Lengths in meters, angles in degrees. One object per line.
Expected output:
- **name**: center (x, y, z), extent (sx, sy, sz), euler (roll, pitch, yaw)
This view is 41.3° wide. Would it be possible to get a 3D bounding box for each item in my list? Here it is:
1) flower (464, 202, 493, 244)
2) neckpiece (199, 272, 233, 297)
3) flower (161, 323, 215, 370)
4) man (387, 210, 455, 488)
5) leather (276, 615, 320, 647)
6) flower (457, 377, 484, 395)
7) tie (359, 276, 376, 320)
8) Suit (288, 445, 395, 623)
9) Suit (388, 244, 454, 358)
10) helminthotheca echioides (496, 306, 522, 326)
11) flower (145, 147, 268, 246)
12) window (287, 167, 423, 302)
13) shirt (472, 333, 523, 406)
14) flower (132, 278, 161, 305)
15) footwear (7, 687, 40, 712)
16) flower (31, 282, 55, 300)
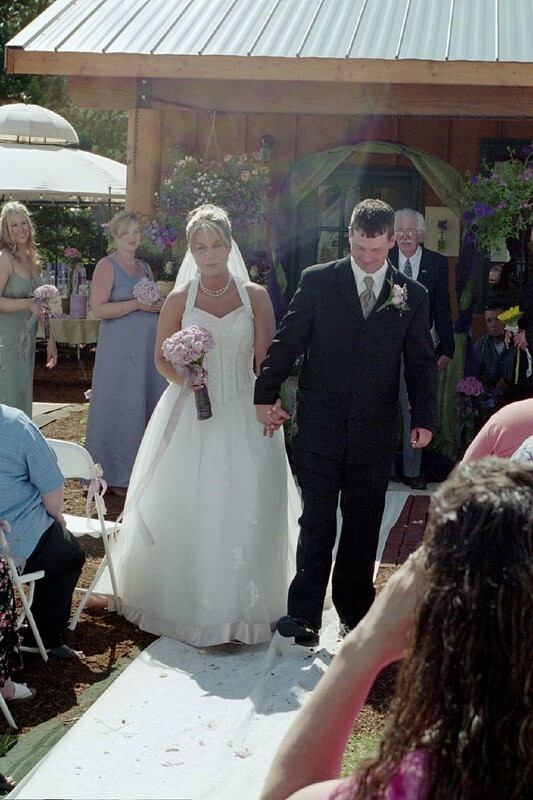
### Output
- **flower**: center (1.872, -1.559, 6.282), extent (0.192, 0.363, 0.280), euler (1, 3, -6)
- **neckpiece**: center (-0.253, -0.561, 3.579), extent (0.110, 0.133, 0.036), euler (-7, -14, -9)
- **flower**: center (-0.380, -0.248, 3.453), extent (0.239, 0.214, 0.277), euler (1, 3, -6)
- **man**: center (1.252, -0.411, 6.005), extent (0.772, 2.391, 0.707), euler (-3, 9, 0)
- **leather**: center (0.142, 1.056, 3.208), extent (0.201, 0.100, 0.087), euler (36, 31, -11)
- **flower**: center (1.850, -0.113, 6.403), extent (0.233, 0.188, 0.185), euler (2, 3, 16)
- **tie**: center (0.458, -0.462, 3.172), extent (0.071, 0.193, 0.038), euler (2, 3, 7)
- **Suit**: center (0.325, 0.624, 3.426), extent (0.469, 0.840, 0.313), euler (4, 2, -4)
- **Suit**: center (1.441, -0.805, 6.062), extent (0.796, 0.921, 0.253), euler (2, 3, 8)
- **helminthotheca echioides**: center (2.152, -0.751, 6.255), extent (0.185, 0.171, 0.253), euler (3, 3, 18)
- **flower**: center (-0.568, -1.861, 7.234), extent (1.350, 0.665, 1.397), euler (-22, 5, -16)
- **window**: center (1.035, -2.020, 8.380), extent (1.389, 1.635, 0.125), euler (4, 42, 8)
- **shirt**: center (2.161, -0.269, 6.623), extent (0.492, 0.648, 0.269), euler (1, -1, 11)
- **flower**: center (-0.947, -0.856, 5.639), extent (0.192, 0.203, 0.082), euler (-1, 2, 3)
- **footwear**: center (-0.922, 1.147, 2.692), extent (0.045, 0.045, 0.106), euler (40, 14, 26)
- **flower**: center (-1.769, -0.871, 5.689), extent (0.137, 0.114, 0.182), euler (-3, 2, -16)
